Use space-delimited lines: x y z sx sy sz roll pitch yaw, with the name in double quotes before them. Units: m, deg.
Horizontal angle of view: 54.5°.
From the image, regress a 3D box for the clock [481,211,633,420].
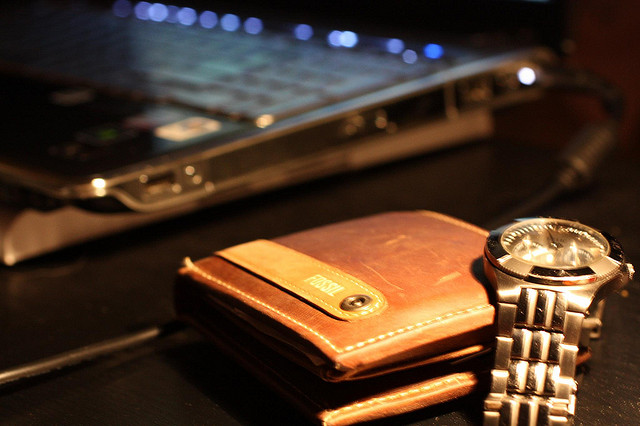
"clock" 0.242 0.103 0.695 0.127 0.167 0.230 11 52 23
